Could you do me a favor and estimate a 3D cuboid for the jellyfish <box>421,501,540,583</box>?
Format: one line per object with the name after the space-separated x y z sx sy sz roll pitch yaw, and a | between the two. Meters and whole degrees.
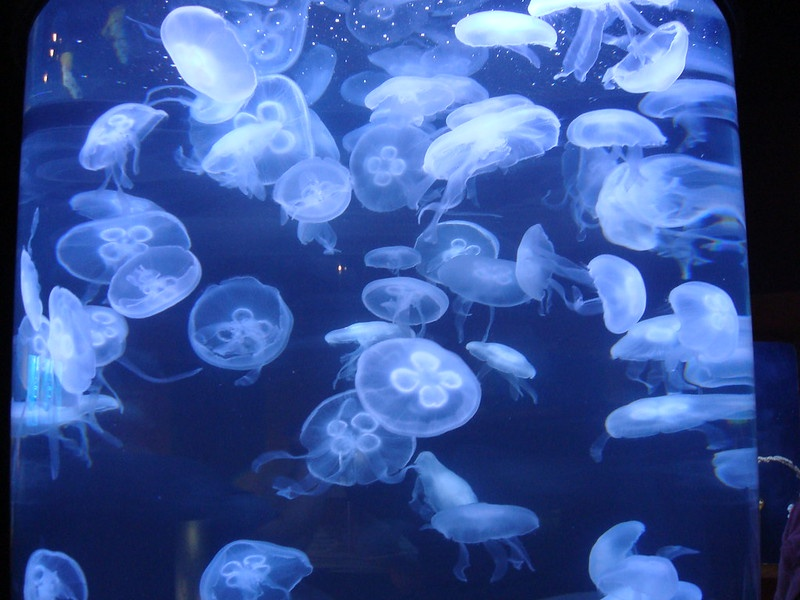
0.402 1.086 4.599 0.671 0.228 0.815 0 4 -9 | jellyfish
